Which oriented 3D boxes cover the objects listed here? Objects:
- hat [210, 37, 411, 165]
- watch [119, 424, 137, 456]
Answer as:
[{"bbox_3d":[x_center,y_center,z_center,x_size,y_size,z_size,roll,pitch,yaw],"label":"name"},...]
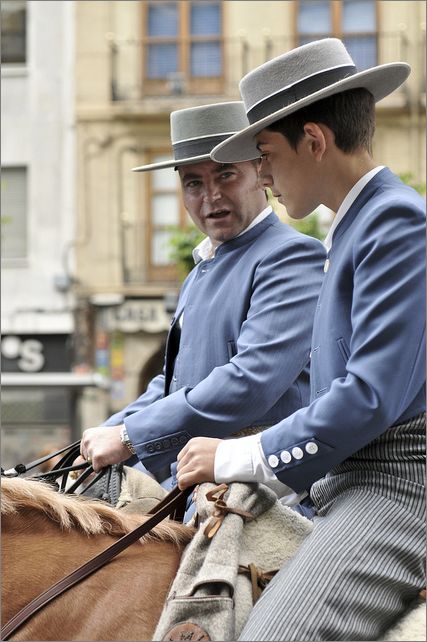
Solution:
[{"bbox_3d":[0.221,-0.566,2.790,0.336,0.109,0.355,-24,-2,43],"label":"hat"},{"bbox_3d":[-0.240,0.328,3.197,0.039,0.074,0.081,-3,-1,-5],"label":"watch"}]
